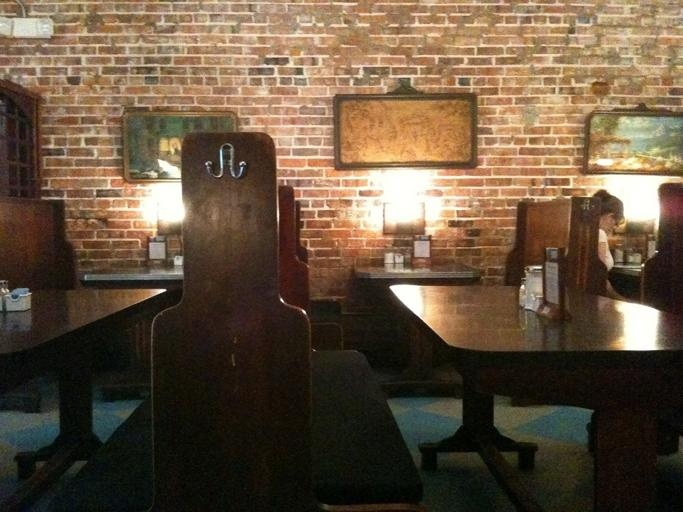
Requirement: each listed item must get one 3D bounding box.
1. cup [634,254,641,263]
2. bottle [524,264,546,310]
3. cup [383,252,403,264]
[{"bbox_3d":[2.447,0.023,5.579,0.080,0.062,0.056,5,8,44],"label":"cup"},{"bbox_3d":[0.891,0.155,3.139,0.081,0.203,0.160,3,7,14],"label":"bottle"},{"bbox_3d":[0.421,0.041,5.592,0.207,0.102,0.096,1,5,6],"label":"cup"}]
